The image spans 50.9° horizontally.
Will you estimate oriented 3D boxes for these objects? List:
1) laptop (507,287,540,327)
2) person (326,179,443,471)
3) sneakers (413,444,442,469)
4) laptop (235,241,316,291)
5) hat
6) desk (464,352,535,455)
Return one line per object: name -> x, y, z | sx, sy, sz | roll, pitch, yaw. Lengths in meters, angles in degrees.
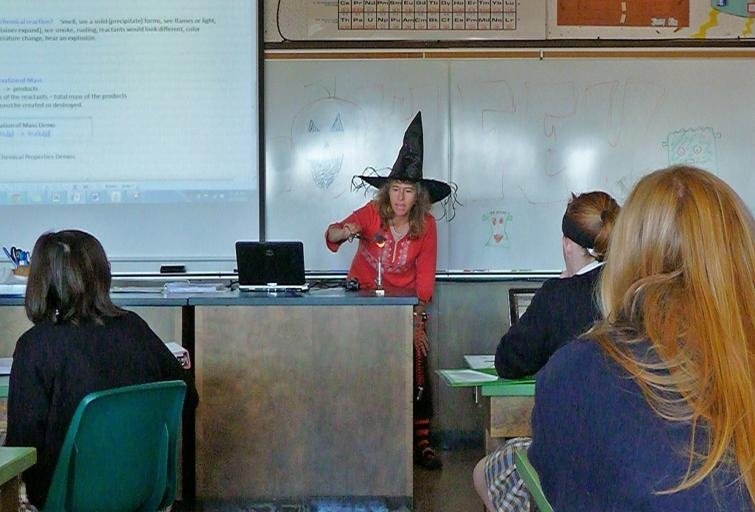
laptop -> 0.783, 0.274, 4.246 | 0.168, 0.188, 0.182 | 2, -6, 11
person -> 0.073, 0.402, 4.798 | 0.613, 1.700, 0.641 | 0, 3, 4
sneakers -> 0.300, 1.209, 4.788 | 0.076, 0.086, 0.210 | 1, 4, -19
laptop -> -0.514, 0.052, 4.190 | 0.393, 0.288, 0.292 | 0, -6, -32
hat -> 0.198, -0.689, 4.729 | 0.514, 0.599, 0.578 | 2, -30, 0
desk -> 0.564, 0.687, 3.809 | 0.321, 0.474, 0.493 | 0, -1, 2
